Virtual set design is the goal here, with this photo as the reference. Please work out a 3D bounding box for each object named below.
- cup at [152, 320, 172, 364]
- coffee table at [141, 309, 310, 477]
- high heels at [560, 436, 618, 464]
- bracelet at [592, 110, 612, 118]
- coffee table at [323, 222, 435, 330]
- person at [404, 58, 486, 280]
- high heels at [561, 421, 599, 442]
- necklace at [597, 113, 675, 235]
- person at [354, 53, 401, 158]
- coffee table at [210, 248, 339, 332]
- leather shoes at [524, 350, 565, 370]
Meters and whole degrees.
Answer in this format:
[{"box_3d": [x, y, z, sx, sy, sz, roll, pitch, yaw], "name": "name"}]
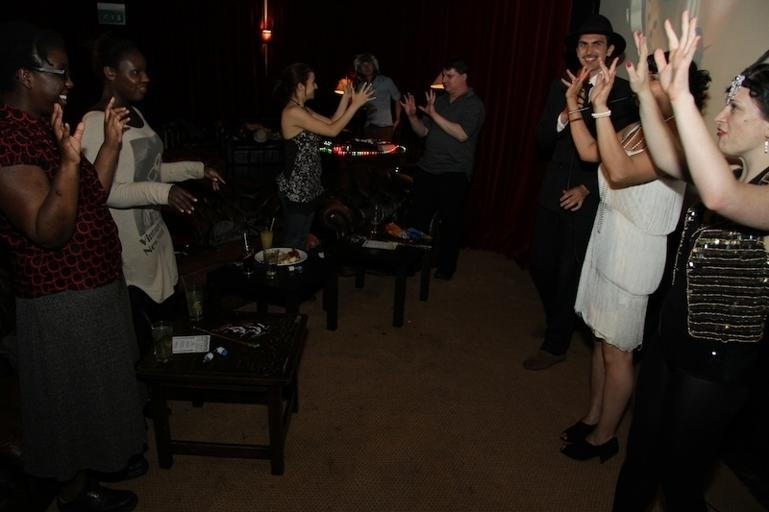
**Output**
[{"box_3d": [-1.209, 0.456, 3.063, 0.111, 0.197, 0.139, -6, 23, -17], "name": "cup"}, {"box_3d": [-0.865, 0.670, 3.438, 0.859, 0.658, 0.873, 1, 23, 2], "name": "coffee table"}, {"box_3d": [1.229, 1.160, 3.366, 0.264, 0.116, 0.149, 3, 13, 10], "name": "high heels"}, {"box_3d": [1.069, -0.707, 2.788, 0.086, 0.039, 0.067, 3, 22, 5], "name": "bracelet"}, {"box_3d": [-0.022, 0.011, 4.652, 0.814, 0.620, 0.821, 9, 20, 17], "name": "coffee table"}, {"box_3d": [0.524, -0.775, 5.243, 0.704, 1.980, 0.550, -2, 22, -7], "name": "person"}, {"box_3d": [1.169, 1.086, 3.471, 0.245, 0.091, 0.091, -26, 27, 31], "name": "high heels"}, {"box_3d": [1.270, -0.407, 2.843, 0.321, 0.569, 0.412, -2, 33, 8], "name": "necklace"}, {"box_3d": [-0.105, -1.593, 6.725, 0.592, 1.512, 0.508, 0, 22, 3], "name": "person"}, {"box_3d": [-0.743, 0.284, 4.145, 0.568, 0.437, 0.577, 8, 22, 15], "name": "coffee table"}, {"box_3d": [1.201, 0.765, 4.167, 0.332, 0.124, 0.128, -11, 38, 1], "name": "leather shoes"}]
